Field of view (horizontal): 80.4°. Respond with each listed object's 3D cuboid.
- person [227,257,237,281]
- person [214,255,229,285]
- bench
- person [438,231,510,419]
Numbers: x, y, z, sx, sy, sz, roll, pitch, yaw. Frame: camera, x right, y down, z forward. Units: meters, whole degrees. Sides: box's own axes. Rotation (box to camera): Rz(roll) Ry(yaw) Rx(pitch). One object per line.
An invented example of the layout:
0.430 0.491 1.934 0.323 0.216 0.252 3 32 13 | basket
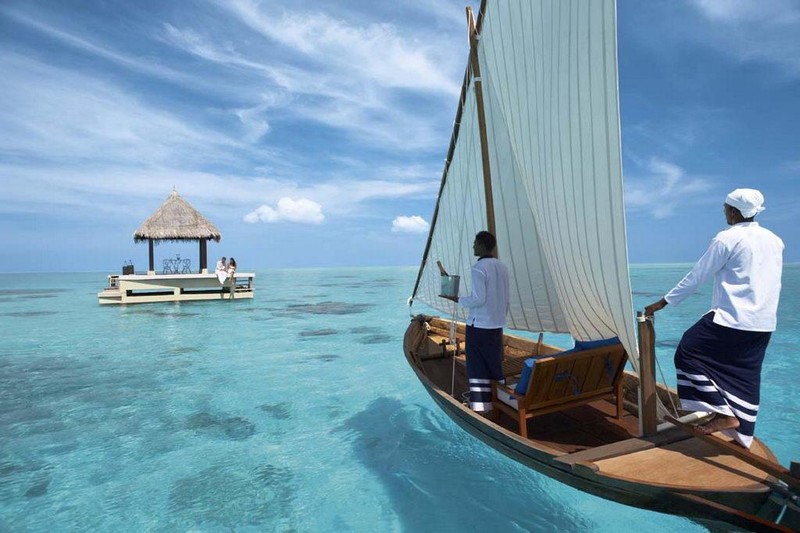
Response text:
-11.059 0.196 30.843 0.503 1.372 1.255 -1 6 -22 | person
-11.656 0.313 30.804 0.658 1.718 0.680 -4 7 -42 | person
2.432 1.732 7.135 1.925 1.293 0.949 -5 11 -22 | bench
1.249 0.834 7.156 0.713 2.709 0.436 1 5 8 | person
